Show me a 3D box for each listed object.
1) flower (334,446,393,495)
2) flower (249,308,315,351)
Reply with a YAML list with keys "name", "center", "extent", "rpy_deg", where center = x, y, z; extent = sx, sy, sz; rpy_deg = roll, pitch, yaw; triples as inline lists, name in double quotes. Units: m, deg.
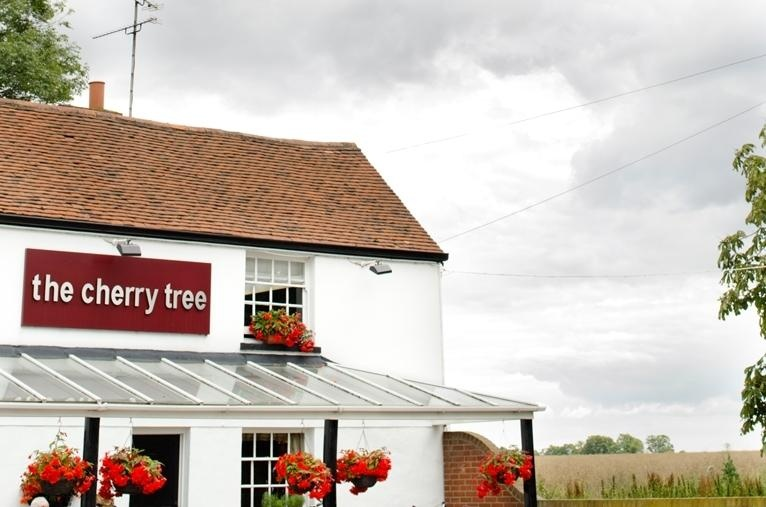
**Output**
- name: "flower"
  center: [-0.953, 9.172, 60.726]
  extent: [2.174, 1.895, 0.538]
  rpy_deg: [8, 9, -10]
- name: "flower"
  center: [-4.440, 3.337, 63.359]
  extent: [2.814, 1.646, 0.584]
  rpy_deg: [8, 9, -8]
